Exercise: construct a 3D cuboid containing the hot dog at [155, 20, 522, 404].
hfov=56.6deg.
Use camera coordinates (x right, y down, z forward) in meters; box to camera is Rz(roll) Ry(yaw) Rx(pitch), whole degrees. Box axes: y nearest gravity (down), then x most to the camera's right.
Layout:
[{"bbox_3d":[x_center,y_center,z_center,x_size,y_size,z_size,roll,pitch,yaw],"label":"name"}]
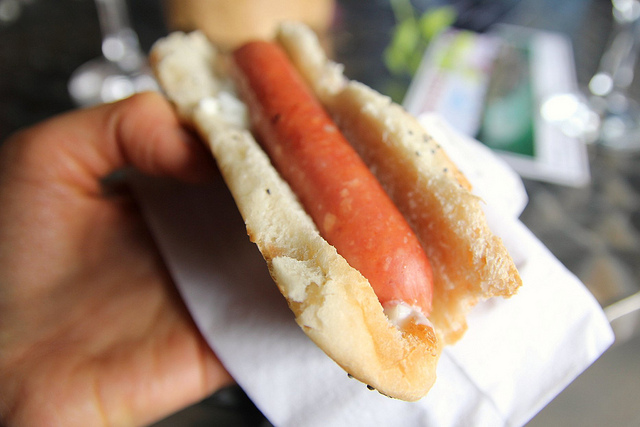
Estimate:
[{"bbox_3d":[0.035,-0.048,1.608,0.544,0.523,1.044,-30,60,-17],"label":"hot dog"}]
